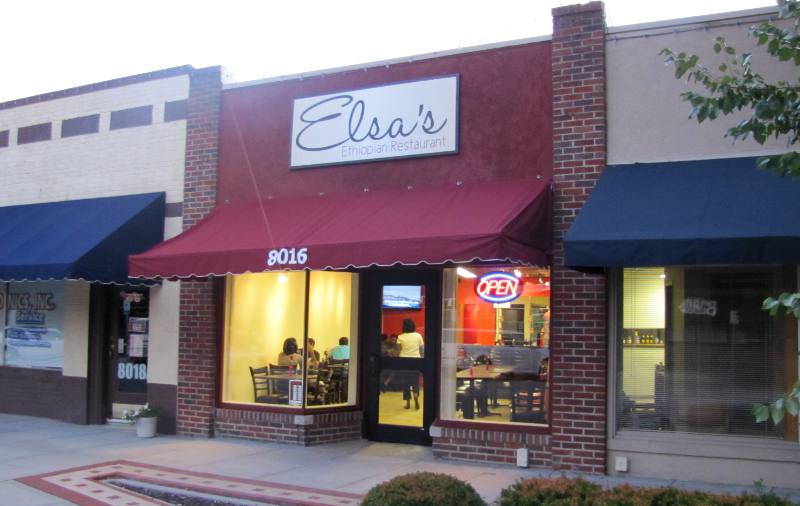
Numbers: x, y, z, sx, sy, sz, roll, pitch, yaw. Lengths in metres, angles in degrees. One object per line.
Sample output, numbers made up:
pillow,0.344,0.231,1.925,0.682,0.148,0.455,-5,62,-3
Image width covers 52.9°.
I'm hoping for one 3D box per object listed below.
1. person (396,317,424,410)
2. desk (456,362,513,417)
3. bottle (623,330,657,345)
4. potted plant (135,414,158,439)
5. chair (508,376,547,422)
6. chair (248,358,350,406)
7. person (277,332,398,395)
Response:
person,0.205,2.376,17.174,0.583,1.900,0.305,0,6,13
desk,1.744,2.825,16.664,1.115,1.018,1.085,-2,-6,13
bottle,4.561,1.595,15.211,0.693,0.309,0.054,1,6,13
potted plant,-5.629,3.909,17.944,0.483,0.342,0.450,1,-6,-5
chair,2.510,2.933,15.852,0.794,1.175,0.809,-3,-16,17
chair,-2.186,2.804,17.670,1.396,0.638,1.231,-2,-4,20
person,-1.320,2.486,17.483,2.498,1.401,0.406,-1,6,-1
